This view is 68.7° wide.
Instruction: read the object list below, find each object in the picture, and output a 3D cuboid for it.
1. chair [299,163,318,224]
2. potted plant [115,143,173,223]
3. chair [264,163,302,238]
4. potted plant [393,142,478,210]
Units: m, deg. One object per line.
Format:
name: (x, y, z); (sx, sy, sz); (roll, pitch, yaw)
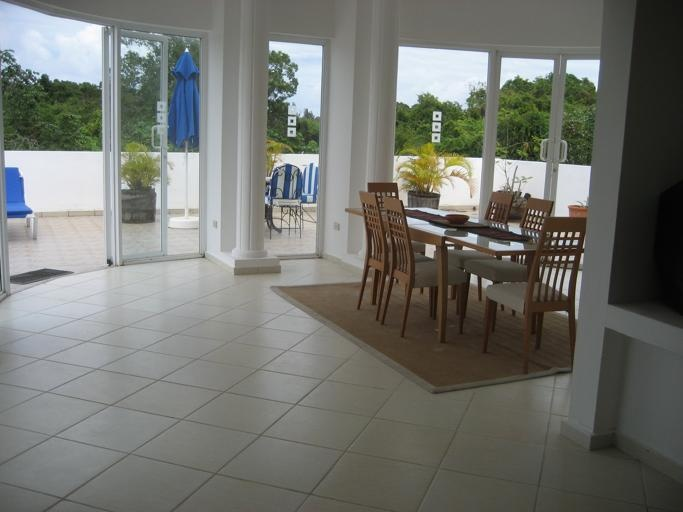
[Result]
chair: (-0.498, -0.976, 7.812); (0.261, 1.018, 0.601); (1, 13, -4)
potted plant: (-2.553, -1.000, 6.962); (0.878, 1.406, 0.812); (0, 7, -12)
chair: (-0.889, -0.890, 7.748); (0.603, 1.130, 0.588); (0, 13, -8)
potted plant: (1.440, -1.256, 7.650); (1.050, 0.915, 0.844); (1, 8, 0)
